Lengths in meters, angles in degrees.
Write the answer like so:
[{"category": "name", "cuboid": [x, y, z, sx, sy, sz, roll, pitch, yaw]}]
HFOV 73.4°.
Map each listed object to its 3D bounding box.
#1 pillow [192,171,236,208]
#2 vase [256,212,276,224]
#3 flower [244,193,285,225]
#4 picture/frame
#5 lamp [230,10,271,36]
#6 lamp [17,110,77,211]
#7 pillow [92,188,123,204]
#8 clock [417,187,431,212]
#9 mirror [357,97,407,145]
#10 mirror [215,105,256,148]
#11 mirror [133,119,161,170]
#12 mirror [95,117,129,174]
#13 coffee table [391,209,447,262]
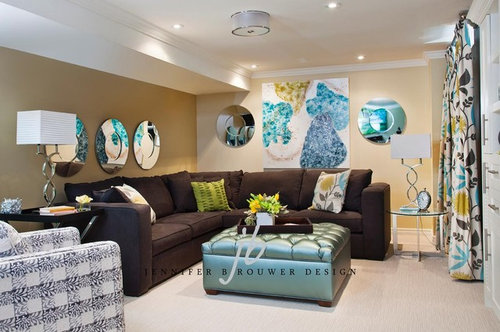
[{"category": "pillow", "cuboid": [-0.558, 0.328, 5.857, 0.649, 0.650, 0.277, 3, -35, -17]}, {"category": "vase", "cuboid": [0.181, 0.642, 4.007, 0.158, 0.099, 0.158, 0, 0, 8]}, {"category": "flower", "cuboid": [0.193, 0.544, 4.231, 0.426, 0.327, 0.432, -1, 0, 11]}, {"category": "picture/frame", "cuboid": [1.151, -0.808, 6.408, 1.758, 1.815, 0.032, 0, 0, 18]}, {"category": "lamp", "cuboid": [0.007, -1.786, 4.220, 0.502, 0.215, 0.300, -1, 6, 2]}, {"category": "lamp", "cuboid": [-2.359, -0.062, 3.950, 0.604, 1.138, 0.621, -6, 8, -36]}, {"category": "pillow", "cuboid": [-1.803, 0.369, 4.272, 0.234, 0.100, 0.239, 13, 3, 14]}, {"category": "clock", "cuboid": [2.488, 0.484, 4.803, 0.173, 0.308, 0.162, 0, 7, 12]}, {"category": "mirror", "cuboid": [2.397, -0.805, 5.988, 0.920, 1.020, 0.133, 2, 3, 24]}, {"category": "mirror", "cuboid": [-0.301, -0.801, 6.878, 0.815, 0.822, 0.105, 0, 7, 17]}, {"category": "mirror", "cuboid": [-1.763, -0.349, 5.706, 0.066, 0.821, 0.609, 1, 7, 23]}, {"category": "mirror", "cuboid": [-2.101, -0.296, 5.030, 0.057, 0.879, 0.881, -2, -3, 21]}, {"category": "coffee table", "cuboid": [2.464, 0.937, 4.948, 0.793, 0.600, 0.818, -1, -5, 12]}]
